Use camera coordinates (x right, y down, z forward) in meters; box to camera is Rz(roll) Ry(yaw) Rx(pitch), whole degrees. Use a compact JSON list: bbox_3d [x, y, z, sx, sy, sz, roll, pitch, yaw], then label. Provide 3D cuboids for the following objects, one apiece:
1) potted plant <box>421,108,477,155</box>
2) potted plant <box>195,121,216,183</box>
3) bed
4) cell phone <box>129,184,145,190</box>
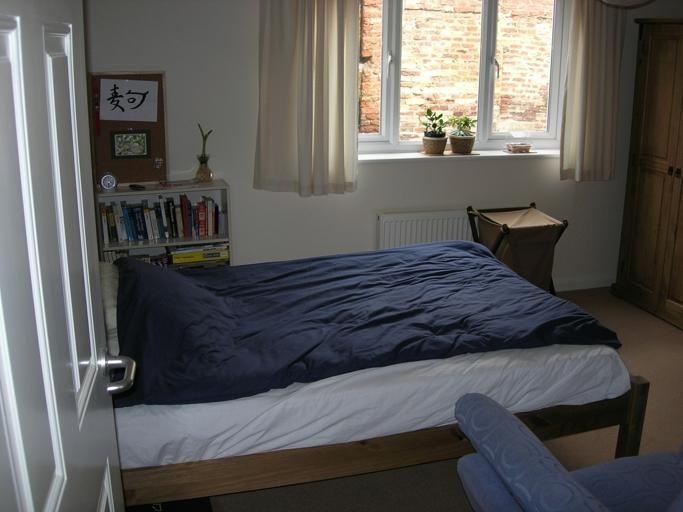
[{"bbox_3d":[0.855,-0.994,4.155,0.451,0.380,0.265,-3,13,1],"label":"potted plant"},{"bbox_3d":[-0.951,-0.710,3.583,0.138,0.397,0.205,-5,13,-9],"label":"potted plant"},{"bbox_3d":[0.024,0.360,2.407,1.710,0.733,1.320,-9,31,-14],"label":"bed"},{"bbox_3d":[-1.340,-0.450,3.412,0.094,0.036,0.190,-9,14,-22],"label":"cell phone"}]
